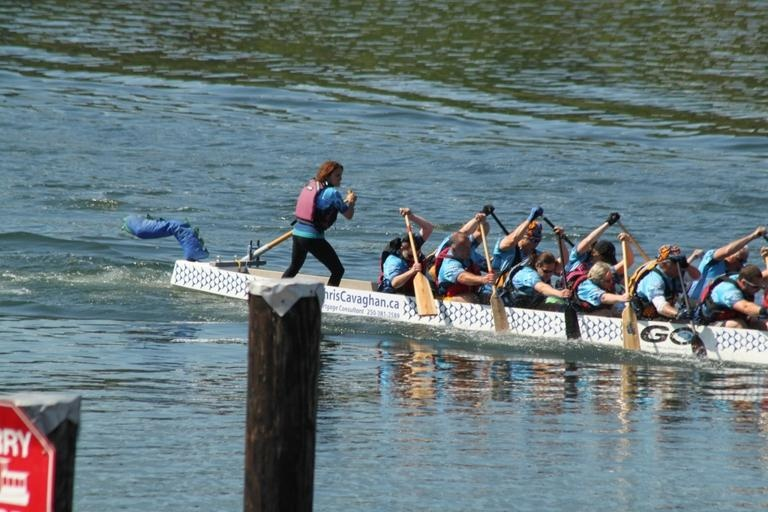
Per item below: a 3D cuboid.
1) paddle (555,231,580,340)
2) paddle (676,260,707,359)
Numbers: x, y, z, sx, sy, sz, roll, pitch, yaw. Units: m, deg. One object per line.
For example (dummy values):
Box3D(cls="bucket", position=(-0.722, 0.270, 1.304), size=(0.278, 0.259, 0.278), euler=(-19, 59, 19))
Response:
Box3D(cls="paddle", position=(4.152, 0.722, 40.800), size=(0.397, 2.795, 0.283), euler=(-8, -18, -7))
Box3D(cls="paddle", position=(6.904, 1.289, 40.094), size=(0.649, 2.002, 0.540), euler=(-1, -1, -17))
